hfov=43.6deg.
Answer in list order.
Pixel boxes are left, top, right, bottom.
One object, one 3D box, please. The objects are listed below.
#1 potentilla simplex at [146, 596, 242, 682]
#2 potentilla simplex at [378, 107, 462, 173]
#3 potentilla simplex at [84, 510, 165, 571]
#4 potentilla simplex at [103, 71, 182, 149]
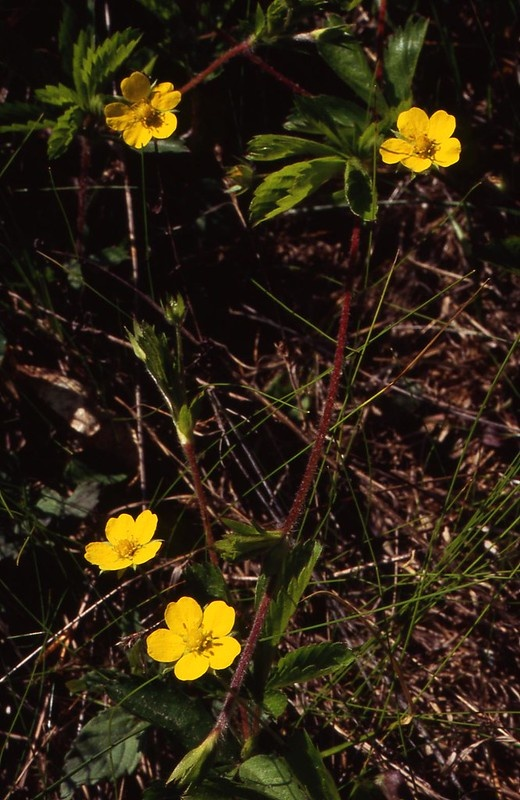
[{"bbox_3d":[-0.154,0.603,1.642,0.199,0.102,0.214,10,6,16],"label":"potentilla simplex"},{"bbox_3d":[0.498,-0.803,2.014,0.225,0.077,0.233,-17,59,6],"label":"potentilla simplex"},{"bbox_3d":[-0.375,0.426,1.858,0.188,0.073,0.184,-27,44,10],"label":"potentilla simplex"},{"bbox_3d":[-0.362,-0.908,2.035,0.209,0.202,0.216,11,45,-3],"label":"potentilla simplex"}]
